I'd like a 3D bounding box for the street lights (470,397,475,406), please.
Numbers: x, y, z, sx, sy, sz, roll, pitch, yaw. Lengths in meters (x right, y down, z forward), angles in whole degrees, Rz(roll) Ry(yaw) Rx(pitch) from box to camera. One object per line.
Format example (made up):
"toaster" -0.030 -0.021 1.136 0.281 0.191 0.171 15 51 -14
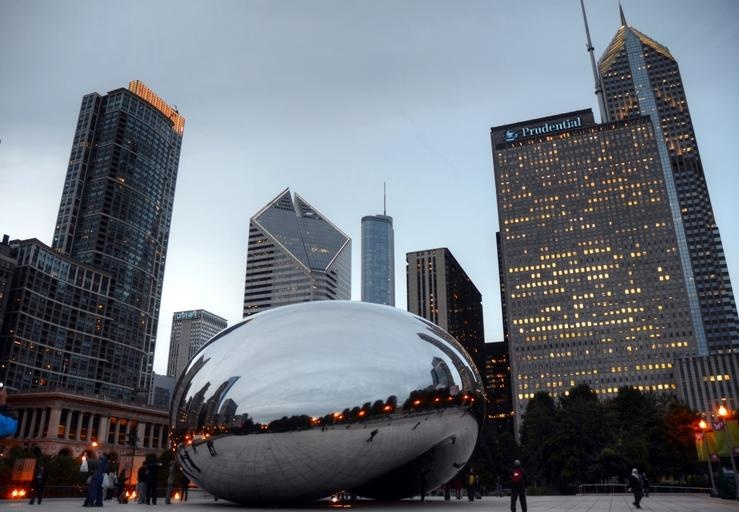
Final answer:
"street lights" 3.915 5.520 21.178 0.184 0.328 0.347 -13 -23 24

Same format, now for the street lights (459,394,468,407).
"street lights" 3.514 5.367 20.826 0.516 0.505 0.281 -1 -6 10
